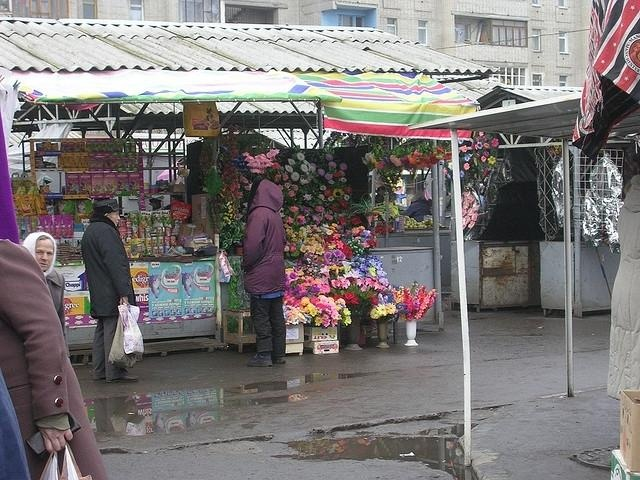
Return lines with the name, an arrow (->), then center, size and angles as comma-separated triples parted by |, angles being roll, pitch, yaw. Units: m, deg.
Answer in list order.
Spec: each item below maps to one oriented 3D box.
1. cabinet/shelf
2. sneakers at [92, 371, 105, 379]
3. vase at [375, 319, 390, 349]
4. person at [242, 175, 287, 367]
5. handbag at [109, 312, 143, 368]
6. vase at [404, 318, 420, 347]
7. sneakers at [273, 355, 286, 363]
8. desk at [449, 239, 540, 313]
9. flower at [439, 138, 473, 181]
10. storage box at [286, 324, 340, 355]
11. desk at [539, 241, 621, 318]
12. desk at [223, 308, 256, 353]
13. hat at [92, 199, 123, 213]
cabinet/shelf -> -3.181, -0.995, 12.980 | 1.435, 0.804, 0.298 | -3, 5, -20
sneakers -> -2.672, 1.635, 11.351 | 0.111, 0.086, 0.112 | 2, -5, -14
vase -> 0.905, 1.315, 13.274 | 0.168, 0.420, 0.424 | -1, 5, 3
person -> -0.706, 0.420, 12.027 | 0.511, 2.364, 0.422 | -1, 5, -6
handbag -> -2.317, 1.170, 11.173 | 0.422, 0.754, 0.351 | -4, 6, -32
vase -> 1.323, 1.316, 13.446 | 0.181, 0.395, 0.490 | -1, 5, 5
sneakers -> -0.514, 1.551, 12.197 | 0.139, 0.148, 0.071 | 1, 2, 23
desk -> 3.568, 0.670, 17.706 | 1.685, 1.252, 0.902 | -1, 1, -20
flower -> 2.463, -1.475, 16.363 | 0.613, 0.883, 0.318 | -5, 1, 3
storage box -> -0.095, 1.331, 12.745 | 0.716, 0.427, 0.405 | -1, 5, -3
desk -> 4.620, 0.693, 16.631 | 1.435, 1.368, 0.890 | 1, 0, -39
desk -> -1.064, 1.249, 13.191 | 0.445, 0.498, 0.550 | 0, -2, 33
hat -> -2.646, -0.425, 11.457 | 0.265, 0.103, 0.199 | 3, 7, 11
